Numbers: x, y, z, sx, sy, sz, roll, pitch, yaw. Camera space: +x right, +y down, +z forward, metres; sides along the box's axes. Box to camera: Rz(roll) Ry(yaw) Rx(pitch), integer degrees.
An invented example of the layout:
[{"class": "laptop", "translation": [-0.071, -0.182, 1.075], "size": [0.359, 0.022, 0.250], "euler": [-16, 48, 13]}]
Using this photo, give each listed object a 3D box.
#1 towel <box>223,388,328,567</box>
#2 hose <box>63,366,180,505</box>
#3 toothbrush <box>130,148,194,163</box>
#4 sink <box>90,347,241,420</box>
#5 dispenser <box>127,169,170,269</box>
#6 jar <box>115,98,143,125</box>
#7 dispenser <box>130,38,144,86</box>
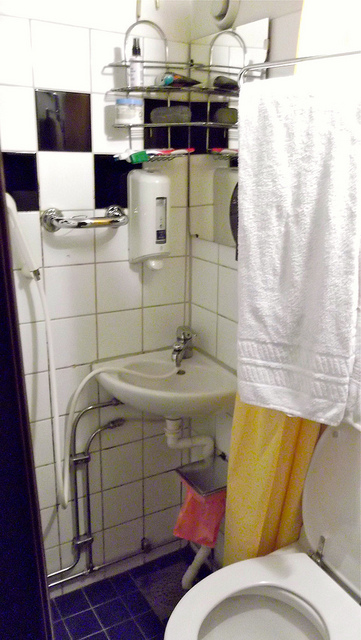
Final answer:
[{"class": "towel", "translation": [0.212, 0.411, 1.201], "size": [0.163, 0.511, 0.233], "euler": [-9, 21, -29]}, {"class": "hose", "translation": [-0.251, 0.300, 1.630], "size": [0.317, 0.474, 0.379], "euler": [-10, 23, -37]}, {"class": "toothbrush", "translation": [-0.061, -0.516, 1.469], "size": [0.213, 0.043, 0.066], "euler": [-10, 6, -11]}, {"class": "sink", "translation": [-0.072, 0.239, 1.592], "size": [0.393, 0.135, 0.431], "euler": [-3, 9, -35]}, {"class": "dispenser", "translation": [-0.101, -0.334, 1.590], "size": [0.139, 0.333, 0.139], "euler": [-7, 14, -35]}, {"class": "jar", "translation": [-0.160, -0.646, 1.441], "size": [0.087, 0.073, 0.151], "euler": [-3, 23, -4]}, {"class": "dispenser", "translation": [-0.132, -0.754, 1.369], "size": [0.032, 0.138, 0.037], "euler": [-5, 12, -29]}]
